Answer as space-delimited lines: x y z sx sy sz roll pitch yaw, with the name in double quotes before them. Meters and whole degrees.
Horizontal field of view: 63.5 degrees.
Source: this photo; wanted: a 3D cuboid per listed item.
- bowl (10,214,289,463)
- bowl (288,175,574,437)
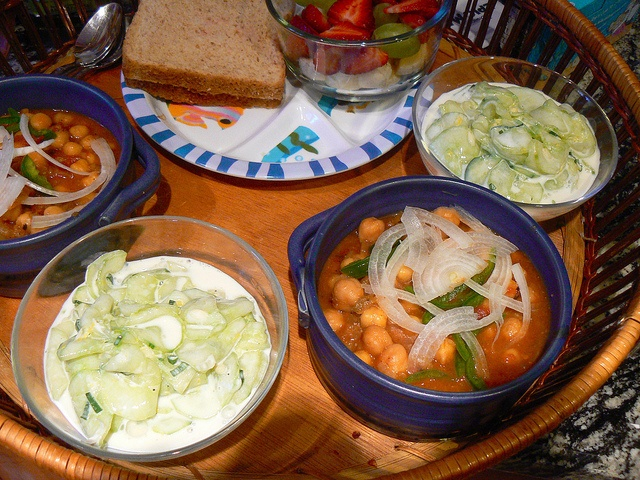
"bowl" -0.372 0.204 1.177 0.587 0.102 0.556 1 68 -2
"bowl" 0.206 0.145 1.141 0.676 0.250 0.602 14 61 8
